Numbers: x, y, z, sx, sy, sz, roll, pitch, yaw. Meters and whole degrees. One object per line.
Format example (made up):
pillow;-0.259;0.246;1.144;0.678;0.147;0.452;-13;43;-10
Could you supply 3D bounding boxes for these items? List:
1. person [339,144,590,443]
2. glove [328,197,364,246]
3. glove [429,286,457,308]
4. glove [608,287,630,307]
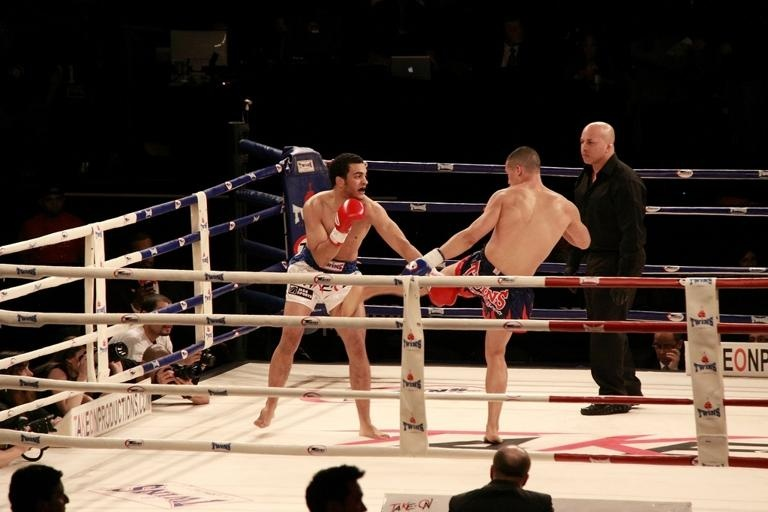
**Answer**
person;0.779;0.277;7.681;1.640;2.243;0.823;1;-7;-2
glove;-0.271;-0.258;7.540;0.263;0.341;0.144;0;-7;11
glove;0.459;0.308;7.830;0.232;0.160;0.166;-11;3;4
glove;1.884;0.326;8.121;0.212;0.142;0.156;1;3;9
